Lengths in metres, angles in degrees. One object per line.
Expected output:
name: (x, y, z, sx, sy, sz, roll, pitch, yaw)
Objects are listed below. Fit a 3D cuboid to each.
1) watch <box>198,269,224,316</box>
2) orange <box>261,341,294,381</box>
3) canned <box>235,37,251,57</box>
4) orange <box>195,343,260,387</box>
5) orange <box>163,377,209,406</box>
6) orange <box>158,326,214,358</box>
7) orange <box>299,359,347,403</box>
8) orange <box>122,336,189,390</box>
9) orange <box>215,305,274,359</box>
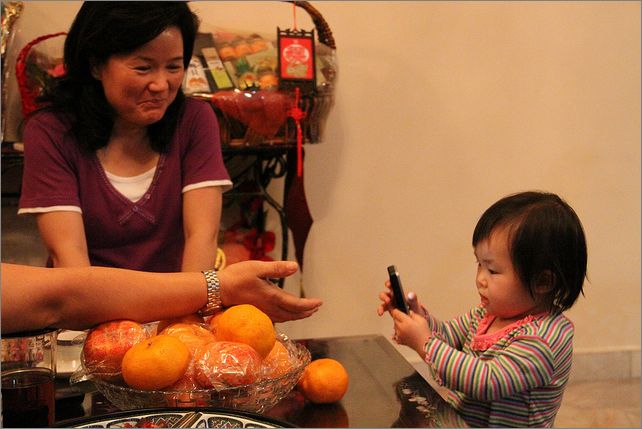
watch: (-0.238, 0.168, 1.130, 0.061, 0.087, 0.100, -9, -5, -23)
orange: (-0.088, 0.308, 1.073, 0.061, 0.057, 0.070, 0, 8, 1)
canned: (-0.309, -0.655, 2.004, 0.064, 0.061, 0.045, 1, 27, -6)
orange: (-0.184, 0.286, 0.987, 0.092, 0.051, 0.095, 9, 3, 25)
orange: (-0.260, 0.337, 0.989, 0.052, 0.034, 0.052, 1, -9, -5)
orange: (-0.273, 0.252, 1.053, 0.072, 0.036, 0.070, 8, 8, -43)
orange: (0.008, 0.367, 1.119, 0.096, 0.068, 0.089, -1, -10, -4)
orange: (-0.329, 0.284, 1.037, 0.108, 0.072, 0.104, -23, 1, -10)
orange: (-0.152, 0.230, 1.099, 0.120, 0.109, 0.108, 6, 3, -1)
